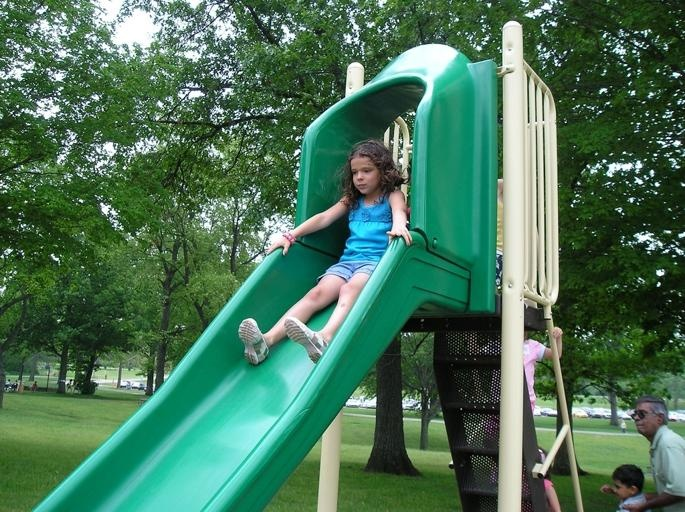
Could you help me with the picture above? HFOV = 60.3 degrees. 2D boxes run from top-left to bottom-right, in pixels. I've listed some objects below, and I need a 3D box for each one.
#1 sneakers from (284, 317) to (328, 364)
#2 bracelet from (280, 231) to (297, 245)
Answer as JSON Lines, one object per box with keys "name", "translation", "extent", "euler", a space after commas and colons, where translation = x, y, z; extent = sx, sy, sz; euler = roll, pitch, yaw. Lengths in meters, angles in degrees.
{"name": "sneakers", "translation": [-0.311, 0.720, 4.901], "extent": [0.134, 0.368, 0.164], "euler": [-42, -3, 23]}
{"name": "bracelet", "translation": [-0.512, -0.174, 5.622], "extent": [0.119, 0.064, 0.113], "euler": [20, -36, 56]}
